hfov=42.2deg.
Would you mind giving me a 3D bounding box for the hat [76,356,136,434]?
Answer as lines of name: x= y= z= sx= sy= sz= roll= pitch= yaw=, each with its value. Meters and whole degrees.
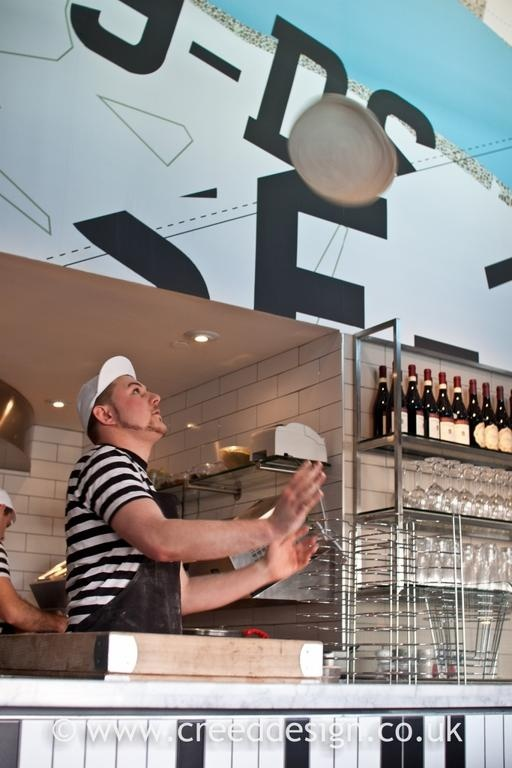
hat: x=-0.317 y=0.027 z=1.391 sx=0.068 sy=0.158 sz=0.112 roll=-2 pitch=-7 yaw=43
